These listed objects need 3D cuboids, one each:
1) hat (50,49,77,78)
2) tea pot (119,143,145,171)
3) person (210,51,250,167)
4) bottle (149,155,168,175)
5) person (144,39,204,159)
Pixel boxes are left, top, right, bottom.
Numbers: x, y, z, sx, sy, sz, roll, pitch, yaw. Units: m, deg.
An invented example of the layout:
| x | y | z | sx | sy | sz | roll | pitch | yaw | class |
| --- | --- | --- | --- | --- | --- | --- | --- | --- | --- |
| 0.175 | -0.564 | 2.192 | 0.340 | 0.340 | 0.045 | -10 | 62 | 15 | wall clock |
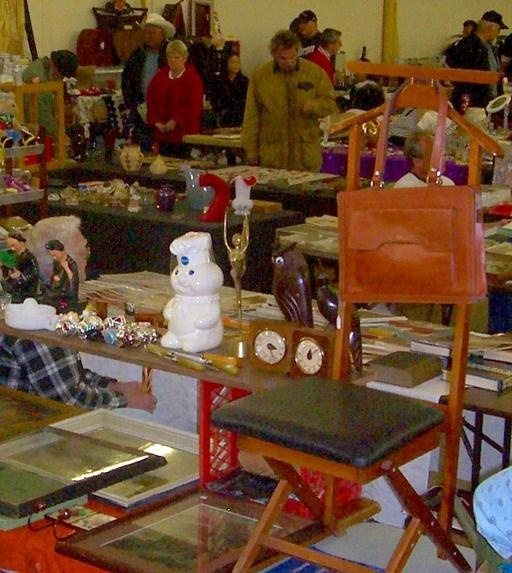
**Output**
| x | y | z | sx | sy | sz | roll | pitch | yaw | class |
| --- | --- | --- | --- | --- | --- | --- | --- | --- | --- |
| -2.322 | -2.688 | 6.413 | 0.349 | 0.379 | 0.130 | -2 | 2 | -42 | hat |
| -1.134 | -1.167 | 4.782 | 0.266 | 0.256 | 0.240 | -3 | 23 | -12 | tea pot |
| -0.318 | -2.552 | 7.217 | 0.509 | 0.422 | 1.568 | 12 | -14 | 1 | person |
| -0.841 | -1.057 | 4.687 | 0.224 | 0.188 | 0.208 | 2 | 9 | 3 | bottle |
| -0.867 | -1.969 | 5.666 | 0.609 | 1.080 | 0.691 | 7 | 8 | -11 | person |
